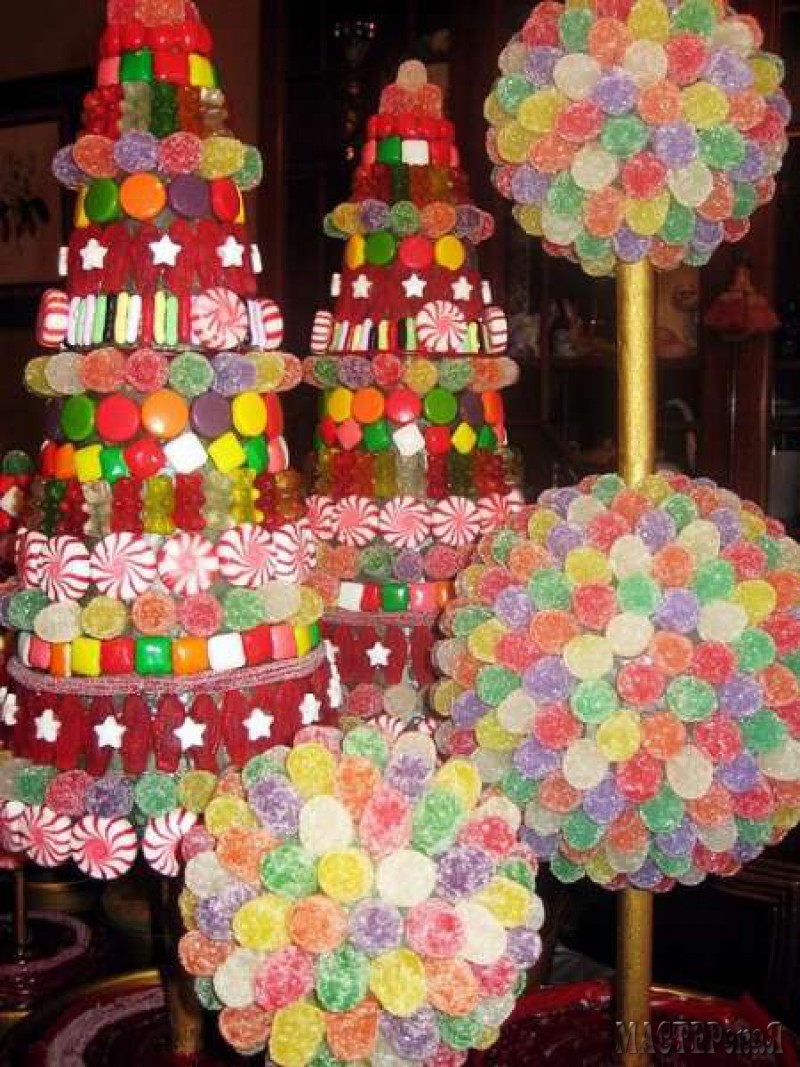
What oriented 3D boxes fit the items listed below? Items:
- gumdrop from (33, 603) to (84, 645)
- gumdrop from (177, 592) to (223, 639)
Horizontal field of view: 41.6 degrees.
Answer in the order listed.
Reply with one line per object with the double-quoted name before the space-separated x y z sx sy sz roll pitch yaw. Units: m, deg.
"gumdrop" -0.216 0.054 0.656 0.029 0.015 0.024 11 89 -9
"gumdrop" -0.124 0.052 0.654 0.030 0.015 0.024 -2 87 -13
